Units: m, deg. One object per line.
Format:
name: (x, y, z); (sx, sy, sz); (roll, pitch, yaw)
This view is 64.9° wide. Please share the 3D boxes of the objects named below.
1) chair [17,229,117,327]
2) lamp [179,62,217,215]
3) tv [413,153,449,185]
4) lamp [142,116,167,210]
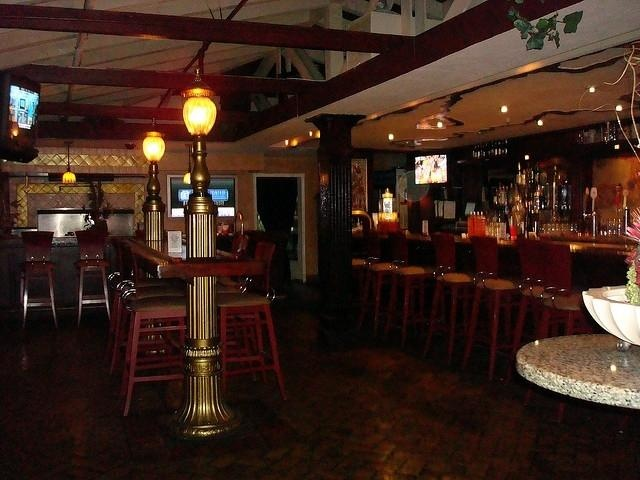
chair: (-3.909, 0.624, 7.685); (1.252, 1.503, 0.597); (-1, 3, -18)
lamp: (-0.936, -0.806, 3.924); (0.235, 1.016, 0.174); (-1, 4, -16)
tv: (2.276, -1.453, 10.340); (0.254, 0.592, 0.830); (-2, 5, -30)
lamp: (-2.003, -0.861, 6.074); (0.237, 1.003, 0.712); (-2, 4, -18)
